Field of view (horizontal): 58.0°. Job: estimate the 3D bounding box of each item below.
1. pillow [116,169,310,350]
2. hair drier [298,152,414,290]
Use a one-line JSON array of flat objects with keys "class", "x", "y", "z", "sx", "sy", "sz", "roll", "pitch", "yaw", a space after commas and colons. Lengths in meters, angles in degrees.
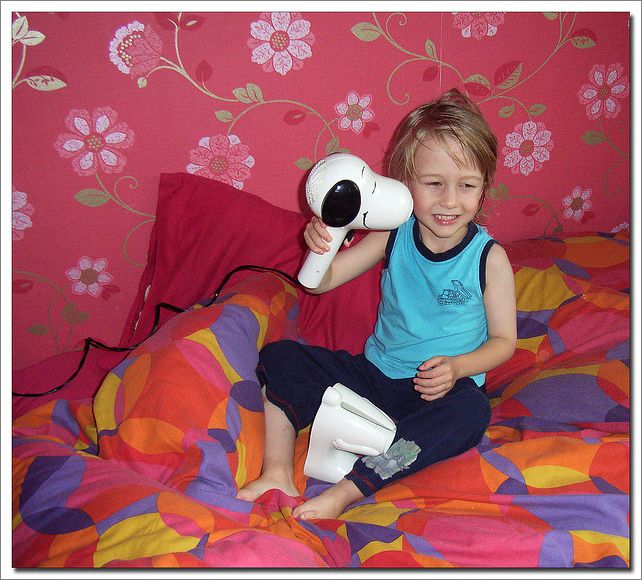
[{"class": "pillow", "x": -0.298, "y": -0.096, "z": 1.474, "sx": 0.454, "sy": 0.450, "sz": 0.068, "roll": 20, "pitch": -6, "yaw": -17}, {"class": "hair drier", "x": 0.059, "y": -0.111, "z": 1.128, "sx": 0.217, "sy": 0.271, "sz": 0.125, "roll": 9, "pitch": 31, "yaw": -9}]
